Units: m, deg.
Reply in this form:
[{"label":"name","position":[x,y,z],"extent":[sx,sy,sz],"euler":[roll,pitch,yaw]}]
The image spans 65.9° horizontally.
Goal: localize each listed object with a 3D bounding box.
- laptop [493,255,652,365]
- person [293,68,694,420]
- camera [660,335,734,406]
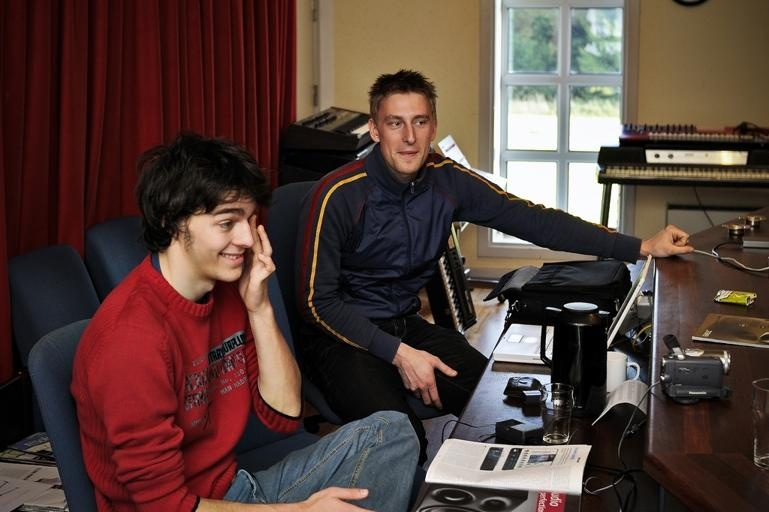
[{"label":"laptop","position":[0.739,0.142,2.472],"extent":[0.479,0.303,0.490],"euler":[4,10,16]},{"label":"person","position":[0.544,-0.160,2.971],"extent":[1.011,1.585,2.240],"euler":[15,17,43]},{"label":"camera","position":[0.816,0.297,1.594],"extent":[0.146,0.147,0.149],"euler":[0,13,6]}]
